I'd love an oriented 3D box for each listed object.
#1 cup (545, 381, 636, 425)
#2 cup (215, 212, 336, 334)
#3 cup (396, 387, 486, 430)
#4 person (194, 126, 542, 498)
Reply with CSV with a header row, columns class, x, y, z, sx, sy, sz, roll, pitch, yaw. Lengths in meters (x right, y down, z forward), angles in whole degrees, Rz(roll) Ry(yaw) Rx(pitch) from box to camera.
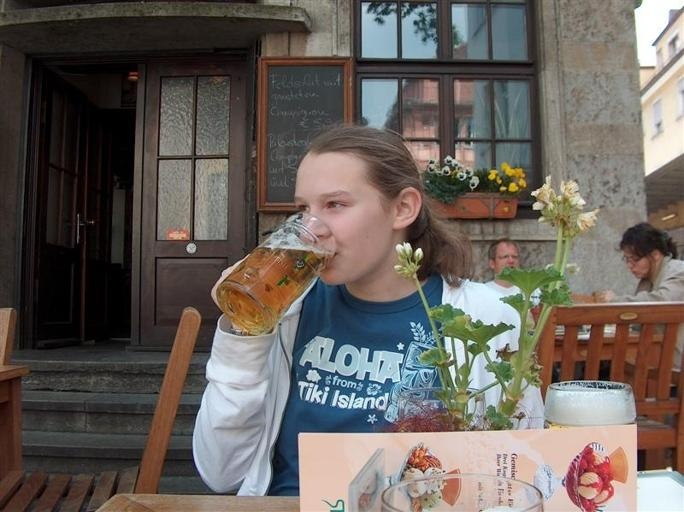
class,x,y,z,sx,sy,sz,roll,pitch,yaw
cup,0.533,0.326,1.298,0.197,0.077,0.191,7,-13,2
cup,-0.163,0.045,1.578,0.317,0.295,0.151,1,0,-12
cup,0.197,0.324,1.307,0.169,0.108,0.161,0,-4,0
person,0.146,0.222,1.922,1.071,1.150,0.652,-1,-1,18
